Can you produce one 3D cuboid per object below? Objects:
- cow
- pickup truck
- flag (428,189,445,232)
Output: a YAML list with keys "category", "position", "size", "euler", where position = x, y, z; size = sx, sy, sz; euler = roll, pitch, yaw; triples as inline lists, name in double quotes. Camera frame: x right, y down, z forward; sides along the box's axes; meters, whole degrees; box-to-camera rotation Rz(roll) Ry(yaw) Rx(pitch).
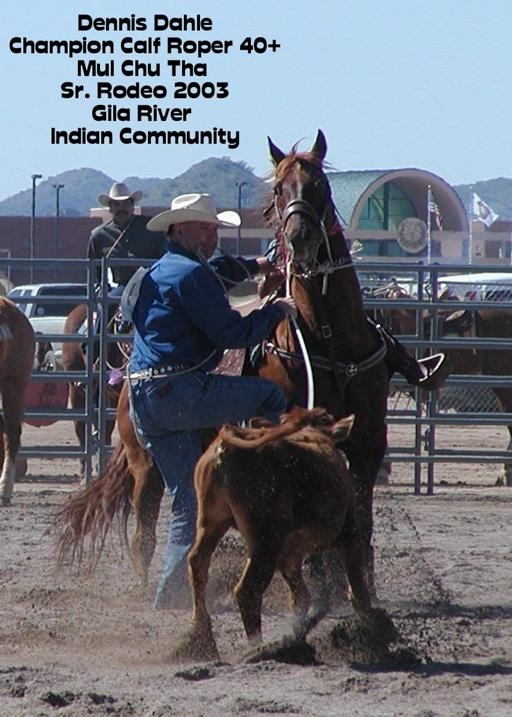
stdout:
- category: "cow"
  position: [0.086, 0.711, 4.581]
  size: [0.761, 1.007, 0.487]
  euler: [-1, 5, -4]
- category: "pickup truck"
  position: [-2.812, -0.476, 16.396]
  size: [1.080, 1.032, 2.215]
  euler: [-2, 5, -23]
- category: "flag"
  position: [7.298, -6.066, 48.351]
  size: [0.628, 1.756, 2.436]
  euler: [0, 5, 9]
